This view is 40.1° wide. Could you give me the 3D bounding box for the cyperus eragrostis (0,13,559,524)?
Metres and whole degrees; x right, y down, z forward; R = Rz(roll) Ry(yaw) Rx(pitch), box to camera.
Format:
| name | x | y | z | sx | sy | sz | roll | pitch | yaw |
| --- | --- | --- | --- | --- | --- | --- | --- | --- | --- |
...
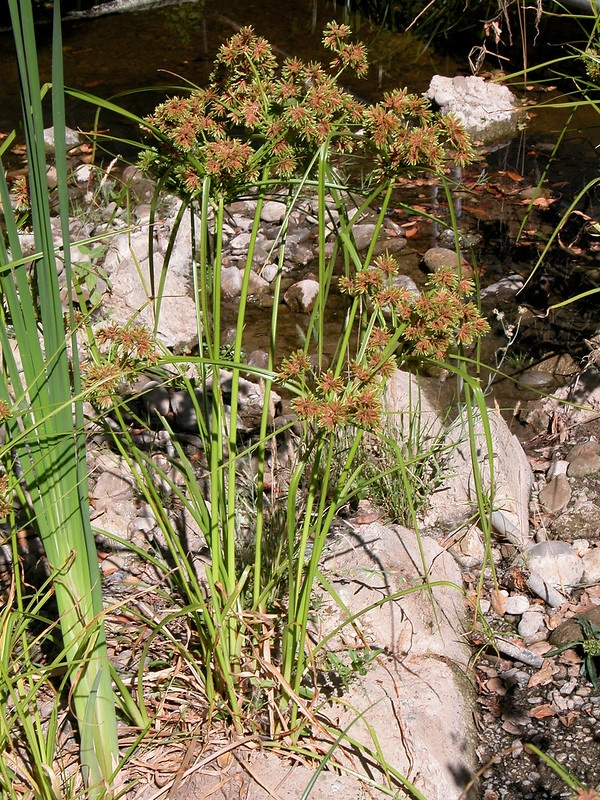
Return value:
| name | x | y | z | sx | sy | sz | roll | pitch | yaw |
| --- | --- | --- | --- | --- | --- | --- | --- | --- | --- |
| cyperus eragrostis | -0.049 | -0.335 | 1.879 | 1.010 | 0.866 | 0.357 | 0 | 5 | -3 |
